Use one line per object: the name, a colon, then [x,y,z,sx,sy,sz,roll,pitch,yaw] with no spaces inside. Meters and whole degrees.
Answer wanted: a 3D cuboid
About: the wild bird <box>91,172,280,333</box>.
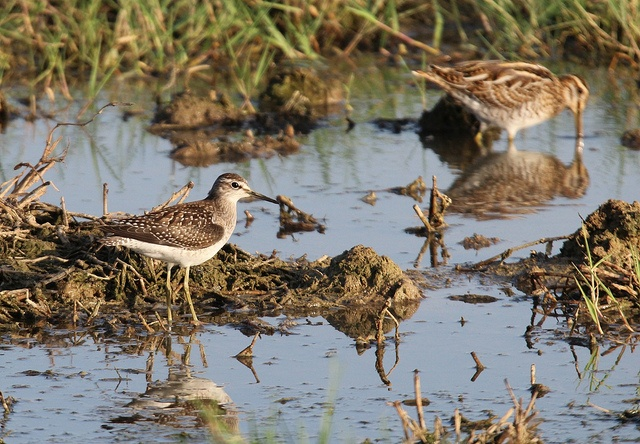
wild bird: [-1.419,0.266,7.703,1.995,1.419,0.814,-1,0,-21]
